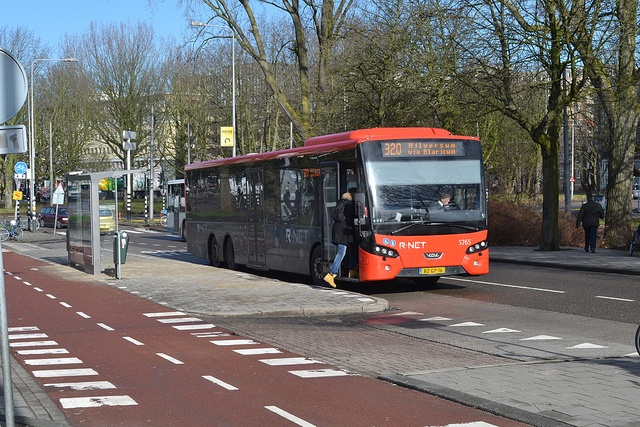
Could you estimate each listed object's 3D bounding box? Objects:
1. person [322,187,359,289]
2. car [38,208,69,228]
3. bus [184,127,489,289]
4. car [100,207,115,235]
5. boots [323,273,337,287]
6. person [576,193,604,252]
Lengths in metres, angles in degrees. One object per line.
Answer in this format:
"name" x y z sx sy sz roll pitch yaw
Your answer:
"person" 0.567 0.551 16.947 0.482 2.340 0.872 1 -1 -40
"car" -18.037 0.266 48.369 1.273 0.972 2.624 2 -6 -34
"bus" -0.323 -0.227 21.567 3.527 3.884 11.759 0 0 -28
"car" -13.616 0.370 45.699 0.811 1.836 2.411 1 -1 -15
"boots" 0.286 1.634 17.227 0.456 0.210 0.159 39 5 -41
"person" 9.540 0.351 25.369 0.862 2.038 1.105 0 -1 20
